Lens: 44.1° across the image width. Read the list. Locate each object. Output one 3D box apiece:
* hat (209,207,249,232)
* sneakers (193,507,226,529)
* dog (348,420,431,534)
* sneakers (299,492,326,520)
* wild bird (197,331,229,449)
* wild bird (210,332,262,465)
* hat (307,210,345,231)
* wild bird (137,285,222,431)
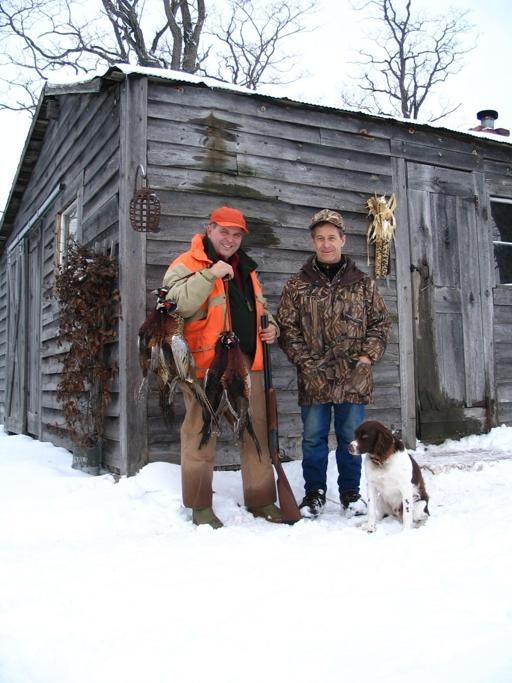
[{"bbox_3d":[-0.166,-0.679,3.466,0.135,0.085,0.176,15,-6,-25],"label":"hat"},{"bbox_3d":[-0.267,0.926,3.309,0.209,0.093,0.134,1,2,18],"label":"sneakers"},{"bbox_3d":[0.701,0.706,3.323,0.346,0.571,0.381,1,3,27],"label":"dog"},{"bbox_3d":[0.312,0.940,3.616,0.127,0.115,0.260,1,2,13],"label":"sneakers"},{"bbox_3d":[-0.211,0.260,3.203,0.138,0.526,0.180,16,11,0],"label":"wild bird"},{"bbox_3d":[-0.130,0.252,3.264,0.248,0.508,0.214,-4,-4,-14],"label":"wild bird"},{"bbox_3d":[0.445,-0.746,3.880,0.161,0.104,0.212,-3,-19,11],"label":"hat"},{"bbox_3d":[-0.437,0.107,3.237,0.313,0.633,0.219,0,2,-11],"label":"wild bird"}]
